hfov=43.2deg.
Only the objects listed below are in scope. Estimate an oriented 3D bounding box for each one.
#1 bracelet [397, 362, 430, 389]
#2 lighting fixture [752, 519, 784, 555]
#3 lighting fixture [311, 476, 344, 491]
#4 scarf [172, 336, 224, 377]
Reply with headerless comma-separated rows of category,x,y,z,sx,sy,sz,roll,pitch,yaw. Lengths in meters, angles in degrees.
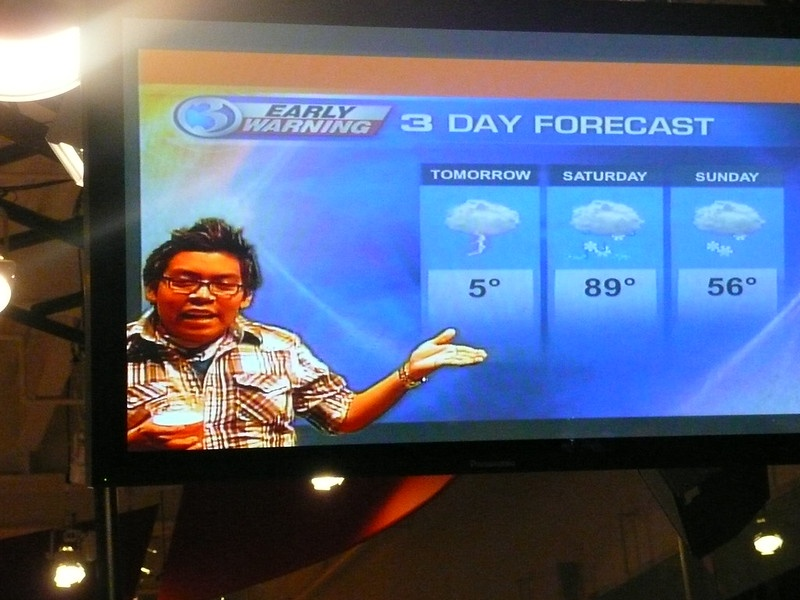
bracelet,0.034,0.223,2.955,0.076,0.078,0.034,10,-16,-14
lighting fixture,1.136,0.732,3.132,0.134,0.100,0.028,1,-7,-14
lighting fixture,-0.220,0.568,3.106,0.101,0.040,0.023,0,-5,-4
scarf,-0.558,0.157,2.928,0.086,0.113,0.091,53,-10,-33
